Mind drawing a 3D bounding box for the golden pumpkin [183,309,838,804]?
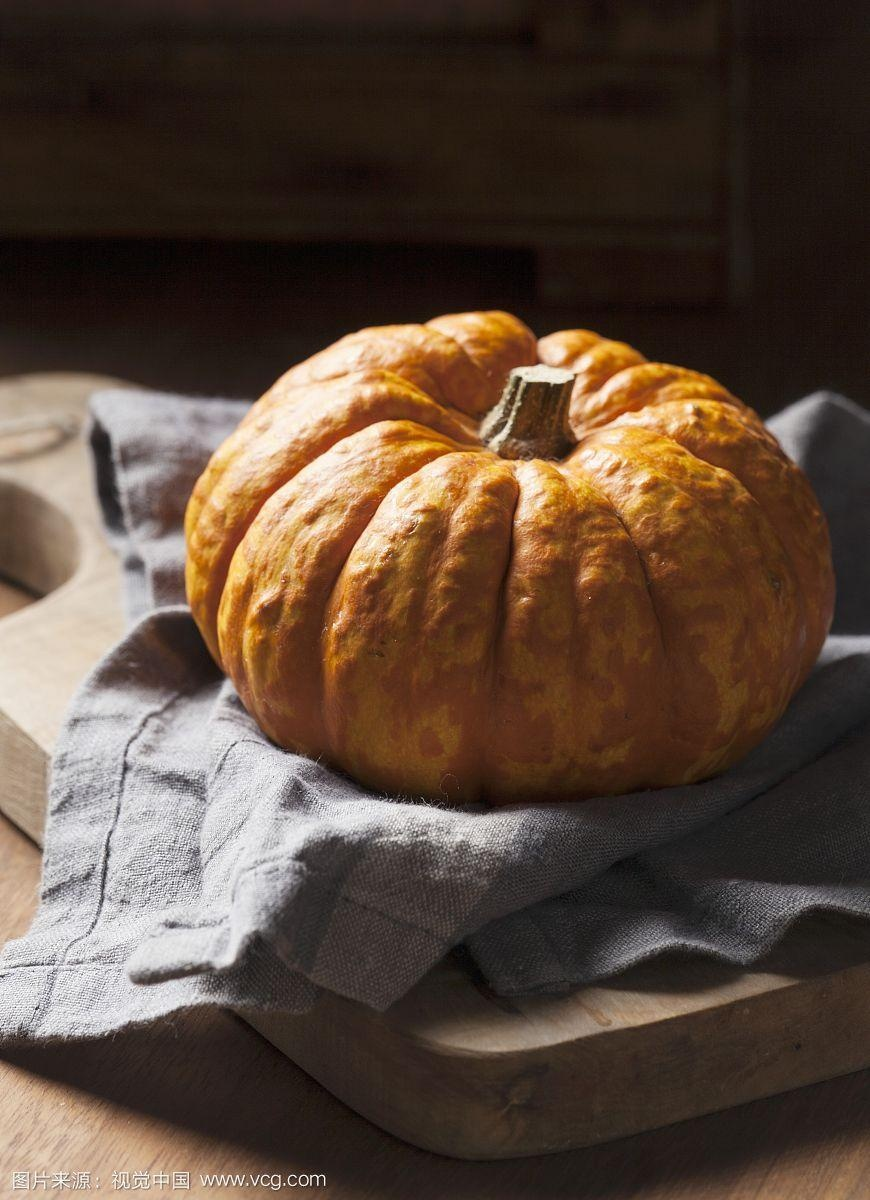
[{"bbox_3d":[0.055,0.014,0.802,0.348,0.171,0.315,21,38,24],"label":"golden pumpkin"}]
